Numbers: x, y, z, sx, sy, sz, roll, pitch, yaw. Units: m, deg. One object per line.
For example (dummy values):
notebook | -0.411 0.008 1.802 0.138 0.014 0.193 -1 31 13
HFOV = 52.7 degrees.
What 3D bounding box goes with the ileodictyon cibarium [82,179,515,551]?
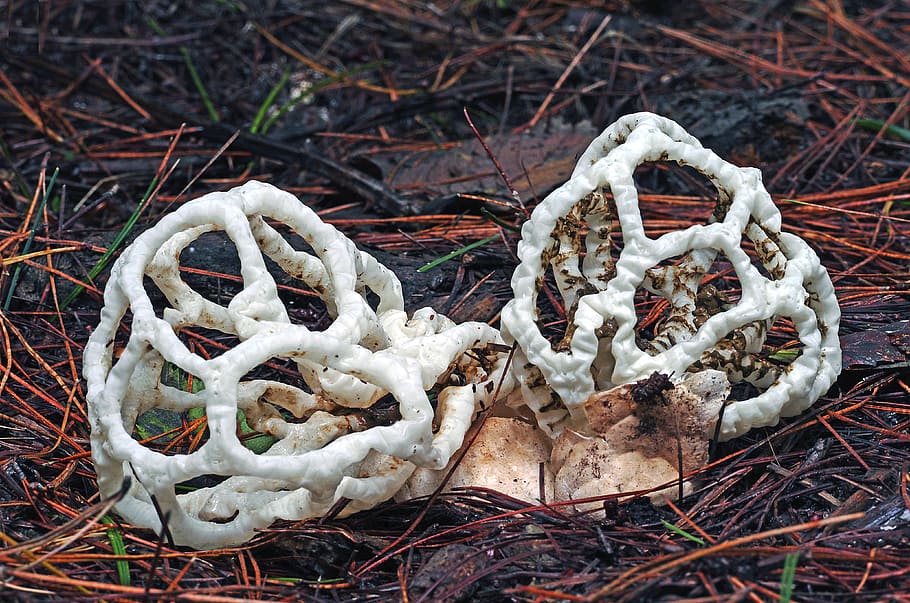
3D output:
ileodictyon cibarium | -0.761 0.326 4.271 1.867 0.769 1.570 -5 84 -2
